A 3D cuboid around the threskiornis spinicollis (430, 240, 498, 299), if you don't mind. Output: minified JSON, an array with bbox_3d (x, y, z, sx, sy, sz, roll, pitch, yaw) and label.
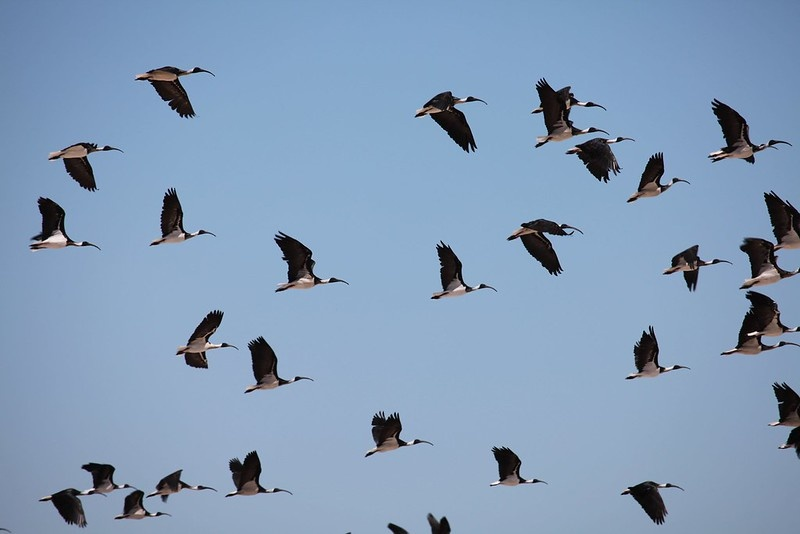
[{"bbox_3d":[0.932,0.295,19.912,0.872,0.350,1.258,5,-72,15],"label":"threskiornis spinicollis"}]

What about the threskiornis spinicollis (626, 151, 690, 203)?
[{"bbox_3d":[4.135,-1.273,20.694,1.083,0.419,1.552,0,-23,0],"label":"threskiornis spinicollis"}]

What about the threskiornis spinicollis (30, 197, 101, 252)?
[{"bbox_3d":[-5.438,-0.455,20.894,1.156,0.451,1.580,10,-31,-7],"label":"threskiornis spinicollis"}]

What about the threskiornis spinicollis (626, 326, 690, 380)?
[{"bbox_3d":[4.080,1.669,20.539,1.076,1.461,0.346,-1,-41,9],"label":"threskiornis spinicollis"}]

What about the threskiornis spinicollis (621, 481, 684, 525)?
[{"bbox_3d":[3.948,3.741,20.631,0.583,0.880,1.639,-7,-9,28],"label":"threskiornis spinicollis"}]

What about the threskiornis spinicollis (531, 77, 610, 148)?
[{"bbox_3d":[2.528,-2.458,20.107,0.761,0.245,0.953,-7,-68,-3],"label":"threskiornis spinicollis"}]
